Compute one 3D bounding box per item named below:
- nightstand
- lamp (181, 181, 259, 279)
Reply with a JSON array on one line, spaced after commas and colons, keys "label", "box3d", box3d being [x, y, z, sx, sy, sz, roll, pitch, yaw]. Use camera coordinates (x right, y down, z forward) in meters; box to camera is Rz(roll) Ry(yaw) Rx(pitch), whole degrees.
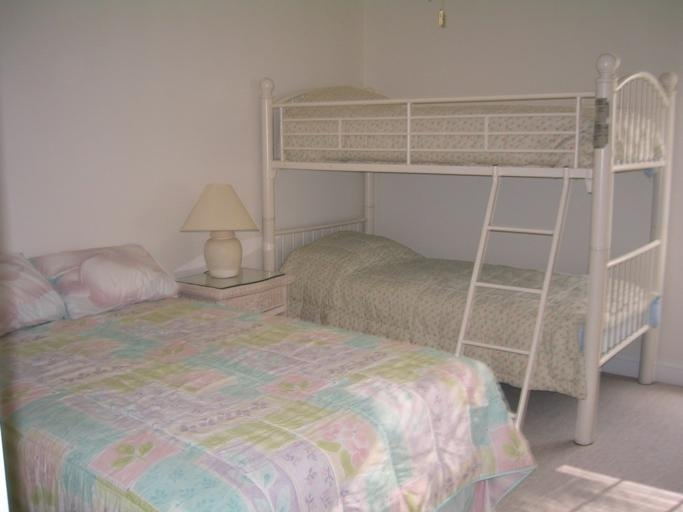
[{"label": "nightstand", "box3d": [-0.754, 0.236, 3.705, 0.385, 0.451, 0.481, 7, 12, 31]}, {"label": "lamp", "box3d": [-0.792, -0.196, 3.832, 0.624, 0.718, 0.639, 6, 13, 37]}]
